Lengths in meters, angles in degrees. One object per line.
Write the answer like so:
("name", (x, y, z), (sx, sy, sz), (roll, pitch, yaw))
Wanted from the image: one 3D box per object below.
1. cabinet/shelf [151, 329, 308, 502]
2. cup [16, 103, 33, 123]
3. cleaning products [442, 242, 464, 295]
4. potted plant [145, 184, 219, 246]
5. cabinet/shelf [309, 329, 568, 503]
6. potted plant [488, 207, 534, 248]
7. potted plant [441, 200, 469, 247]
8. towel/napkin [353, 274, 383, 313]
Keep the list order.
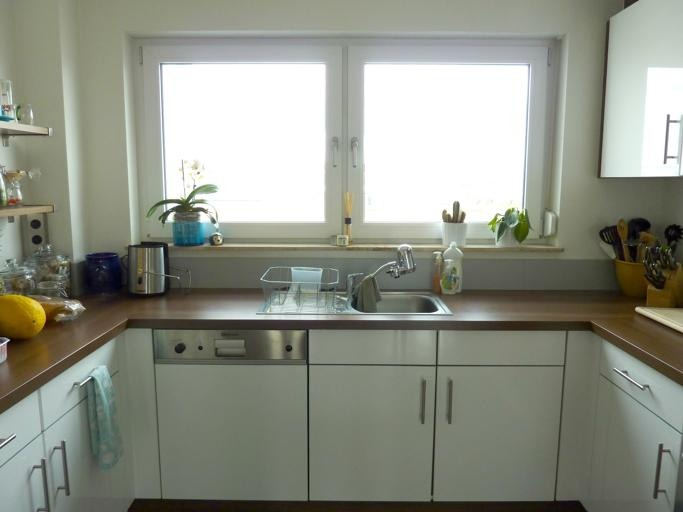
("cabinet/shelf", (-0.536, 0.705, 3.032), (0.748, 0.926, 0.622), (0, 12, -5))
("cup", (-1.509, -0.673, 2.690), (0.067, 0.100, 0.125), (-8, 11, -32))
("cleaning products", (0.619, 0.066, 3.176), (0.135, 0.283, 0.092), (-2, 9, -1))
("potted plant", (-0.859, -0.227, 3.322), (0.433, 0.328, 0.387), (-2, 3, 38))
("cabinet/shelf", (0.463, 0.736, 3.058), (1.233, 0.900, 0.688), (0, 13, 3))
("potted plant", (0.973, -0.169, 3.240), (0.210, 0.195, 0.216), (3, 7, 21))
("potted plant", (0.657, -0.190, 3.277), (0.142, 0.260, 0.134), (-1, 9, 10))
("towel/napkin", (0.130, 0.193, 2.961), (0.149, 0.191, 0.169), (-2, 9, 1))
